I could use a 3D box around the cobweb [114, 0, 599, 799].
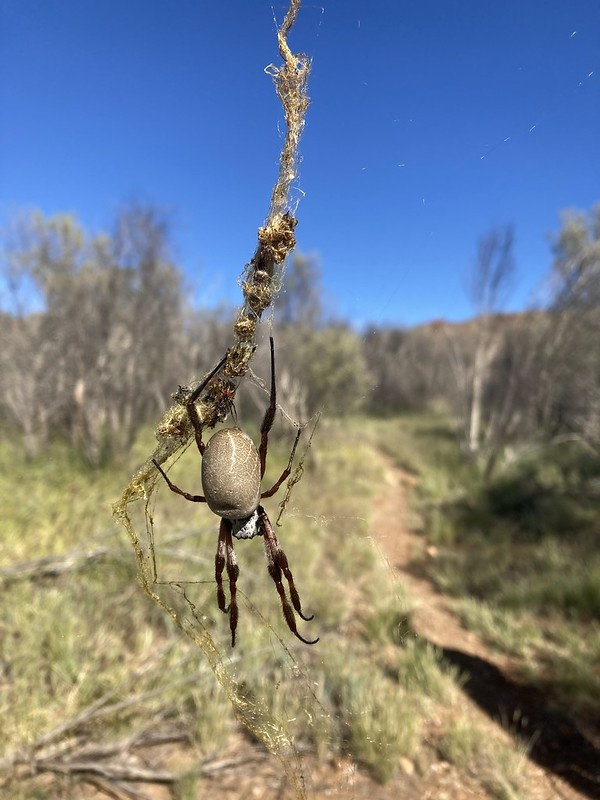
[{"bbox_3d":[0.633,0.667,4.898,0.929,6.342,3.212,0,6,-37],"label":"cobweb"}]
